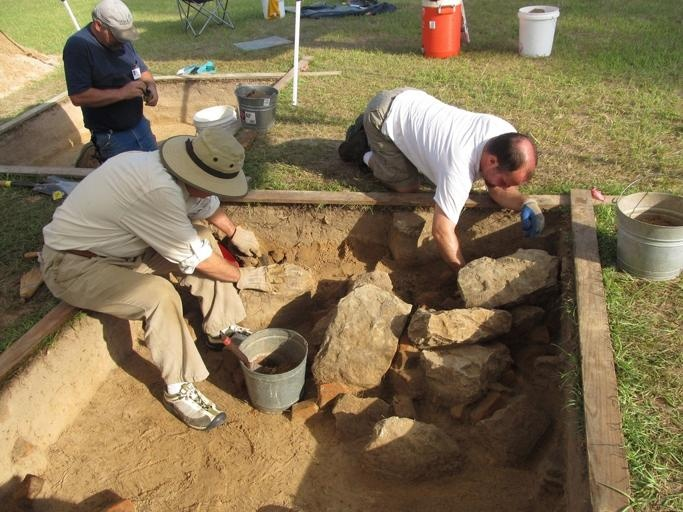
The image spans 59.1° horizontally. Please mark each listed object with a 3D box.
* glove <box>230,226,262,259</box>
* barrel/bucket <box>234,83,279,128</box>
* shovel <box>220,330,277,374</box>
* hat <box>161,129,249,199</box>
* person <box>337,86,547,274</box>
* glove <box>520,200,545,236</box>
[{"bbox_3d":[-0.872,-0.108,5.543,0.124,0.336,0.191,-3,61,33],"label":"glove"},{"bbox_3d":[-1.009,-1.743,7.333,0.548,0.408,0.540,3,35,-2],"label":"barrel/bucket"},{"bbox_3d":[-0.722,0.766,5.004,0.478,0.406,0.262,-12,57,-19],"label":"shovel"},{"bbox_3d":[-1.056,-0.634,4.529,0.563,0.239,0.574,41,46,8],"label":"hat"},{"bbox_3d":[0.893,-0.901,5.620,1.249,0.909,2.403,-25,45,-16],"label":"person"},{"bbox_3d":[1.618,-0.326,5.176,0.113,0.220,0.281,-10,80,0],"label":"glove"}]
